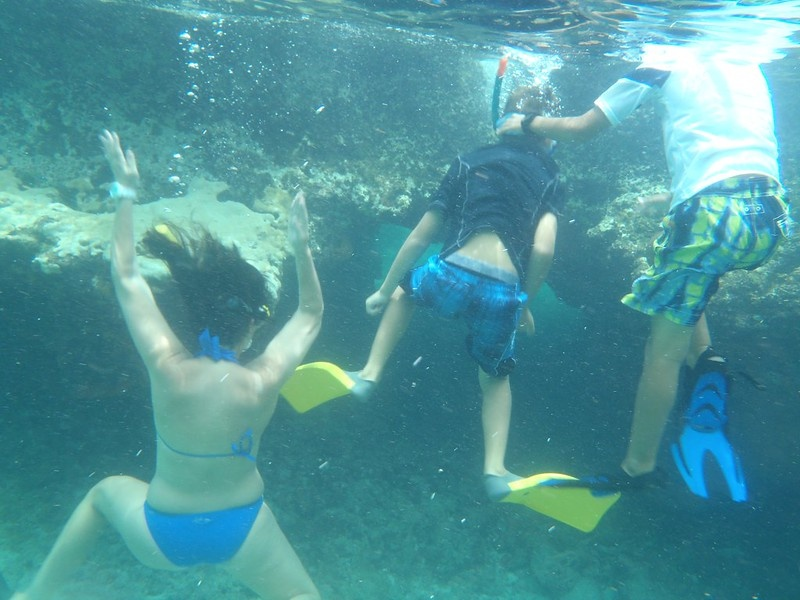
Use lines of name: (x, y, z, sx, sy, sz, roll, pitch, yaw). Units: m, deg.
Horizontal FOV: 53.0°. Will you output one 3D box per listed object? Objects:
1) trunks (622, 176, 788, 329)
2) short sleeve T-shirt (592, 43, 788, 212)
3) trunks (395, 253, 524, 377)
trunks: (2.534, -0.417, 6.280, 1.091, 1.290, 0.714, -10, 39, -8)
short sleeve T-shirt: (2.363, -1.408, 6.087, 1.332, 1.180, 0.466, -7, -9, 5)
trunks: (0.493, 0.122, 6.310, 0.970, 0.837, 0.348, 28, 68, 16)
